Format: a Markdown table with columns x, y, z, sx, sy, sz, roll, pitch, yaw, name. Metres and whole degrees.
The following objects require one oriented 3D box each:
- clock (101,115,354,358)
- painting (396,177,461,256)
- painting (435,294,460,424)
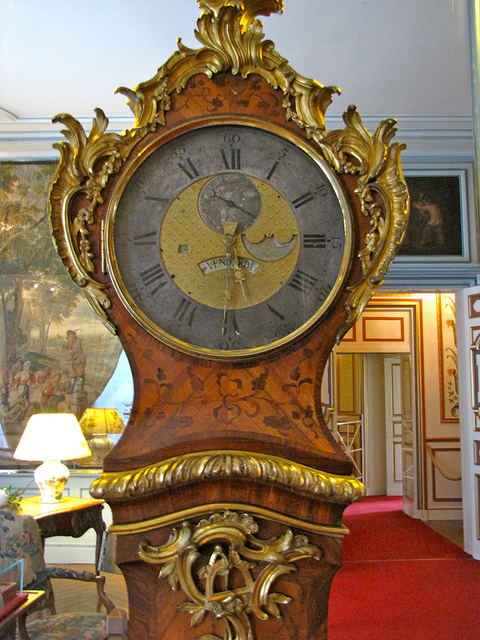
| x | y | z | sx | sy | sz | roll | pitch | yaw | name |
| --- | --- | --- | --- | --- | --- | --- | --- | --- | --- |
| -0.017 | -0.160 | 1.735 | 0.551 | 0.452 | 0.035 | -1 | -4 | 2 | clock |
| 1.098 | -0.601 | 4.972 | 0.356 | 0.468 | 0.117 | 0 | -3 | 7 | painting |
| 1.495 | 0.268 | 6.223 | 0.151 | 0.933 | 0.213 | 0 | -3 | 9 | painting |
